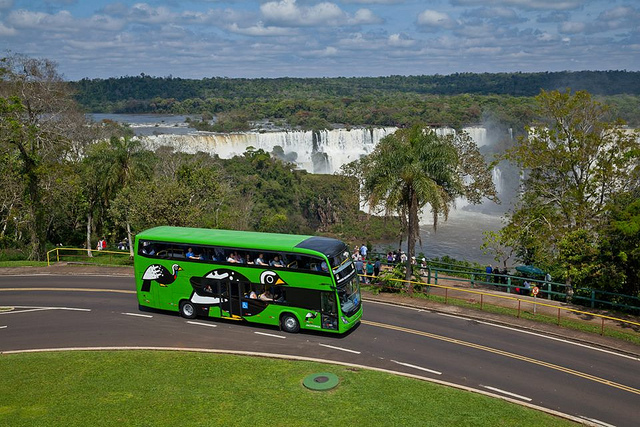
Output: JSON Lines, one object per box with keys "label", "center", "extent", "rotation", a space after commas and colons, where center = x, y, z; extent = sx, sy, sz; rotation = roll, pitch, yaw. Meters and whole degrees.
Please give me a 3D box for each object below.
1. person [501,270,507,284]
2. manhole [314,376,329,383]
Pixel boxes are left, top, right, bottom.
{"label": "person", "center": [14.588, 4.913, 46.819], "extent": [0.401, 1.115, 0.929], "rotation": [4, 4, 18]}
{"label": "manhole", "center": [0.111, 9.259, 33.227], "extent": [0.773, 0.201, 0.537], "rotation": [3, 3, -3]}
